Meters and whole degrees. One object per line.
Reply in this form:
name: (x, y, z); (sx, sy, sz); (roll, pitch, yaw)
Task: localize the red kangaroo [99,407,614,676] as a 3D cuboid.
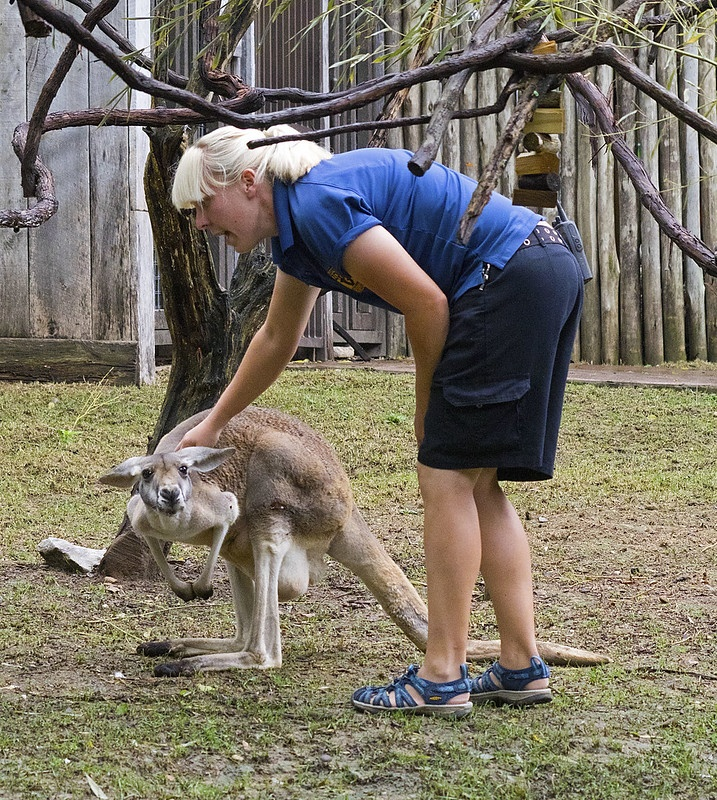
red kangaroo: (-0.086, 0.429, 4.199); (1.502, 0.719, 0.515); (5, -5, -31)

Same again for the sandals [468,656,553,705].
sandals: (0.386, 0.737, 3.559); (0.255, 0.120, 0.098); (0, -3, 40)

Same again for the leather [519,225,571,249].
leather: (0.463, -0.403, 3.378); (0.095, 0.037, 0.066); (8, 0, -28)

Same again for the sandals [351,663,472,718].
sandals: (0.145, 0.742, 3.467); (0.318, 0.138, 0.123); (2, -11, 19)

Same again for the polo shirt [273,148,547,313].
polo shirt: (0.068, -0.472, 3.441); (0.618, 0.315, 0.410); (19, 18, 19)
